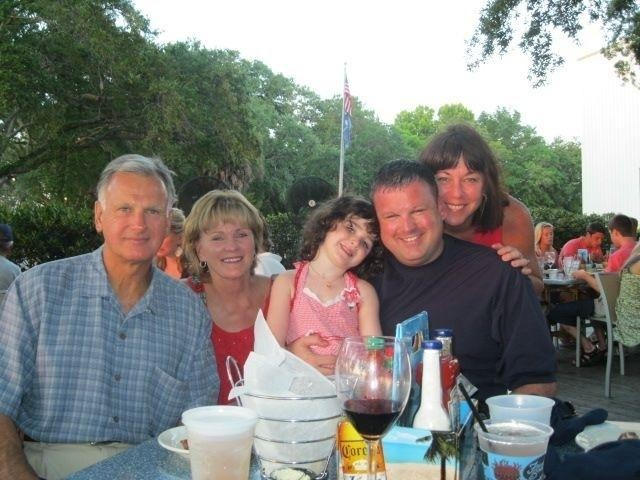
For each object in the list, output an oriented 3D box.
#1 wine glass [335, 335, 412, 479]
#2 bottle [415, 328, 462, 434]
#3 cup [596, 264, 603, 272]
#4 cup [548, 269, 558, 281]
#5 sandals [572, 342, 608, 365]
[{"bbox_3d":[0.187,0.589,2.044,0.214,0.492,0.184,2,-4,-36],"label":"wine glass"},{"bbox_3d":[0.431,0.507,2.150,0.154,0.350,0.298,-1,-3,13],"label":"bottle"},{"bbox_3d":[4.655,0.453,9.671,0.110,0.080,0.097,3,-4,-5],"label":"cup"},{"bbox_3d":[3.523,0.514,8.781,0.155,0.167,0.232,2,-7,-9],"label":"cup"},{"bbox_3d":[3.806,1.617,8.155,0.238,0.196,0.661,-33,-14,39],"label":"sandals"}]
